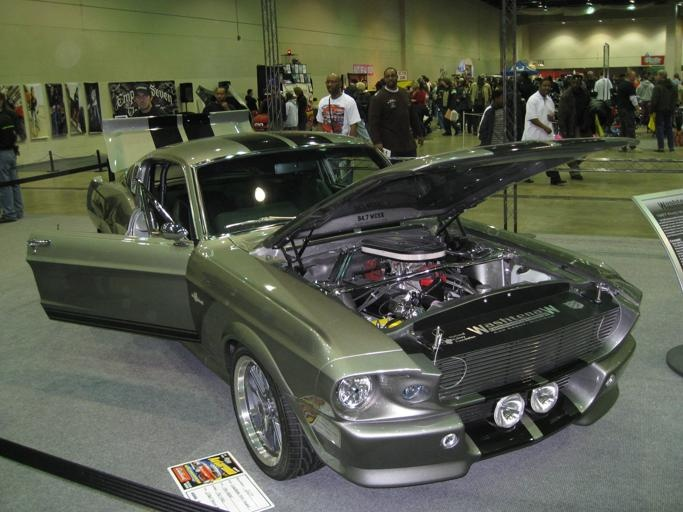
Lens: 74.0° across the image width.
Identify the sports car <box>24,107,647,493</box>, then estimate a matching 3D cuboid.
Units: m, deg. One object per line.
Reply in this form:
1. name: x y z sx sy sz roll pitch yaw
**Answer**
1. sports car: -0.387 0.144 3.354 2.654 1.311 3.648 -17 29 -36
